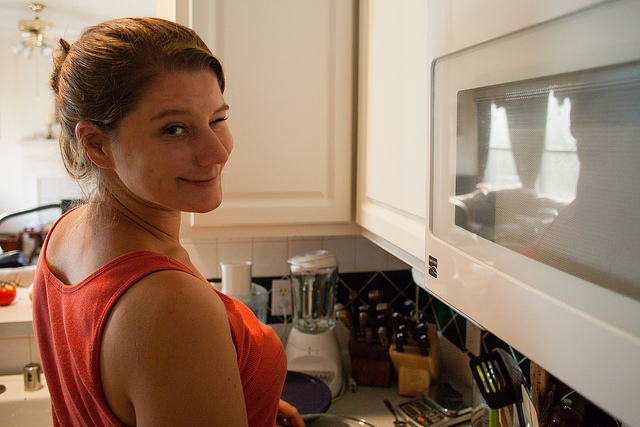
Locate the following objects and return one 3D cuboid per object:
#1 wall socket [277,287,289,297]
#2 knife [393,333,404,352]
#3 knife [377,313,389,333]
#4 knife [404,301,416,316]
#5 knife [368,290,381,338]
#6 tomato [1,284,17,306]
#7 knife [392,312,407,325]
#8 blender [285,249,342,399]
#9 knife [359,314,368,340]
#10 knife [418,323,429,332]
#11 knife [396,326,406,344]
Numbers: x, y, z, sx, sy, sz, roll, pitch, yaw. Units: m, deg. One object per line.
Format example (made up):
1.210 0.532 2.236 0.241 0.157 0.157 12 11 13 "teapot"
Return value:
-0.143 0.295 1.902 0.035 0.037 0.009 -14 7 -11 "wall socket"
0.250 0.408 1.580 0.028 0.055 0.053 -1 12 6 "knife"
0.200 0.351 1.607 0.031 0.054 0.044 -4 8 -1 "knife"
0.305 0.319 1.692 0.033 0.048 0.019 -9 -4 -7 "knife"
0.179 0.330 1.692 0.037 0.170 0.045 -3 9 1 "knife"
-1.152 0.298 1.841 0.062 0.075 0.060 -7 -9 31 "tomato"
0.256 0.339 1.620 0.028 0.054 0.012 -44 -8 -28 "knife"
-0.028 0.352 1.704 0.188 0.458 0.248 -3 7 1 "blender"
0.141 0.368 1.659 0.027 0.101 0.082 -3 8 3 "knife"
0.322 0.359 1.590 0.030 0.021 0.030 18 22 -47 "knife"
0.254 0.385 1.571 0.037 0.039 0.014 -1 -1 36 "knife"
